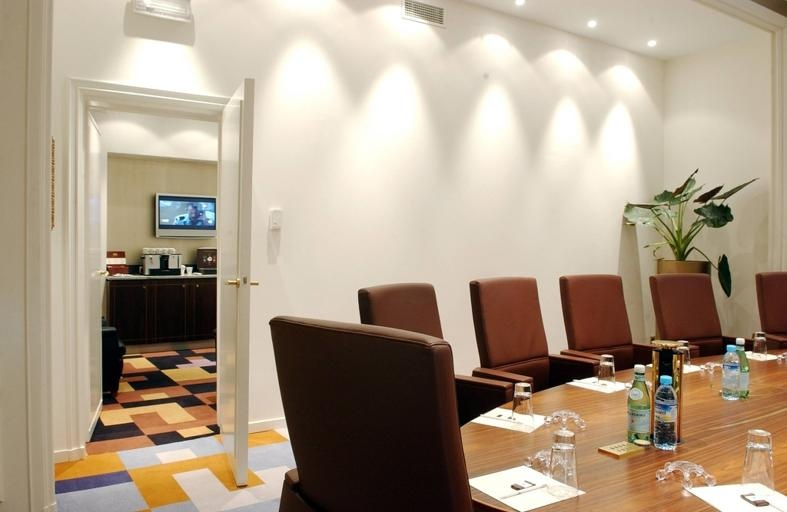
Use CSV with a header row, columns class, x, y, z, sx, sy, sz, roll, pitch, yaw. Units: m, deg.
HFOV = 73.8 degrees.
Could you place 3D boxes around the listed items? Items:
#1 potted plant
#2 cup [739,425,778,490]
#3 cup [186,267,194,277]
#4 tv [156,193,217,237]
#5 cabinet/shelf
class,x,y,z,sx,sy,sz,roll,pitch,yaw
potted plant,3.818,-0.259,6.967,1.583,1.596,1.598,0,-5,5
cup,1.508,0.845,2.182,0.104,0.219,0.083,5,11,28
cup,-3.054,0.234,7.922,0.150,0.142,0.158,1,4,0
tv,-3.236,-0.647,8.122,0.736,0.543,0.101,0,2,-34
cabinet/shelf,-3.231,0.742,7.722,1.431,0.895,0.757,0,-1,-7
